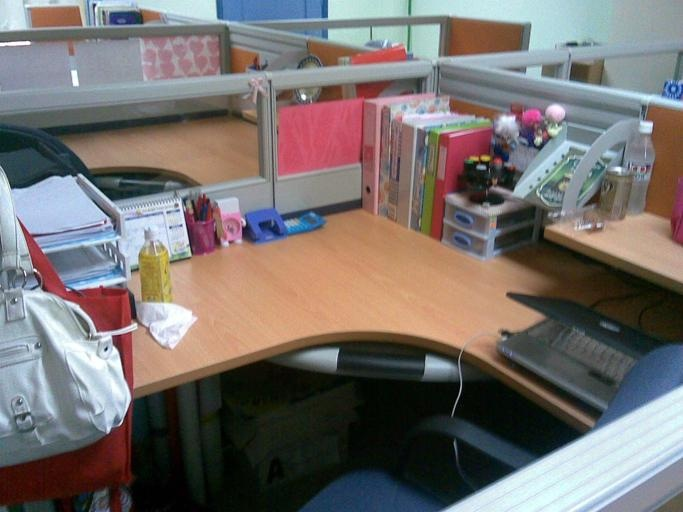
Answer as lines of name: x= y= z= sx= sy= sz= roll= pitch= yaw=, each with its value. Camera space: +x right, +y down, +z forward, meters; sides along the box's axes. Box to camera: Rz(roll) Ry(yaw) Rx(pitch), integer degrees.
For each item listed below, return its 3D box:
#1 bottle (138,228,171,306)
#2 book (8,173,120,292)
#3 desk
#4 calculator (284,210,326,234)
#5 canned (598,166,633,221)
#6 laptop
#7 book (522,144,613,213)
bottle: x=-0.517 y=0.035 z=1.432 sx=0.089 sy=0.193 sz=0.141 roll=-13 pitch=28 yaw=-22
book: x=-0.701 y=-0.086 z=1.359 sx=0.240 sy=0.144 sz=0.330 roll=-22 pitch=57 yaw=-32
desk: x=0.018 y=0.112 z=1.546 sx=1.210 sy=0.759 sz=1.180 roll=-27 pitch=51 yaw=-32
calculator: x=-0.126 y=-0.136 z=1.863 sx=0.114 sy=0.035 sz=0.083 roll=-18 pitch=46 yaw=-26
canned: x=0.763 y=-0.172 z=1.456 sx=0.081 sy=0.134 sz=0.083 roll=10 pitch=28 yaw=21
laptop: x=0.569 y=0.207 z=1.369 sx=0.378 sy=0.049 sz=0.394 roll=-23 pitch=34 yaw=-36
book: x=0.656 y=-0.232 z=1.535 sx=0.228 sy=0.047 sz=0.164 roll=-47 pitch=43 yaw=-7
